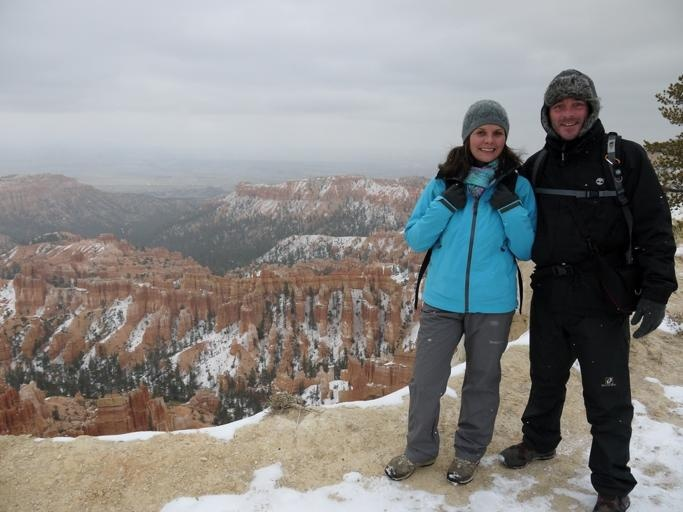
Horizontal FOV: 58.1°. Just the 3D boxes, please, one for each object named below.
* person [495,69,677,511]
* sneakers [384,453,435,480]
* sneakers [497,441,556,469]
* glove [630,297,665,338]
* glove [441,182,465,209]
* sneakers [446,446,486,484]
[{"bbox_3d":[2.331,0.276,5.776,1.313,3.996,0.675,6,10,35],"label":"person"},{"bbox_3d":[0.696,2.082,6.154,0.521,0.235,0.209,-6,30,-13],"label":"sneakers"},{"bbox_3d":[1.885,1.980,6.278,0.517,0.229,0.250,0,9,-6],"label":"sneakers"},{"bbox_3d":[2.775,0.505,5.629,0.293,0.407,0.131,9,7,8],"label":"glove"},{"bbox_3d":[1.096,-0.579,5.953,0.248,0.245,0.138,0,8,-1],"label":"glove"},{"bbox_3d":[1.231,2.065,6.121,0.207,0.258,0.599,4,8,29],"label":"sneakers"}]
